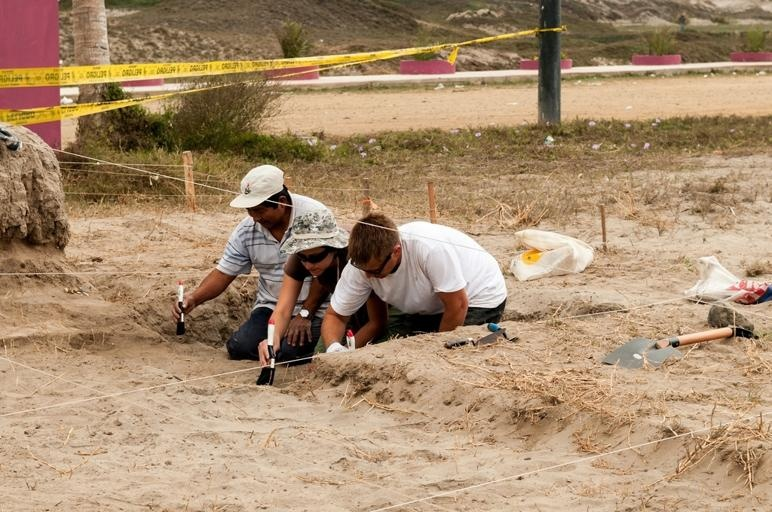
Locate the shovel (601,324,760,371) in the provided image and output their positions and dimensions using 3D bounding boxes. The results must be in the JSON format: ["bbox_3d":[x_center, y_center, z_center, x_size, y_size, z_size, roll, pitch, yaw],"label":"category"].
[{"bbox_3d":[2.919,0.913,10.082,1.596,0.208,0.549,-10,23,-17],"label":"shovel"}]

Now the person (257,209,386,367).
[{"bbox_3d":[-0.677,0.265,10.502,1.214,1.271,1.764,4,4,29],"label":"person"}]

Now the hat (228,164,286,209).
[{"bbox_3d":[-1.308,-0.717,10.395,0.455,0.295,0.660,8,19,40],"label":"hat"}]

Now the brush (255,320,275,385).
[{"bbox_3d":[-1.195,0.952,10.107,0.196,0.641,0.103,0,-26,11],"label":"brush"}]
